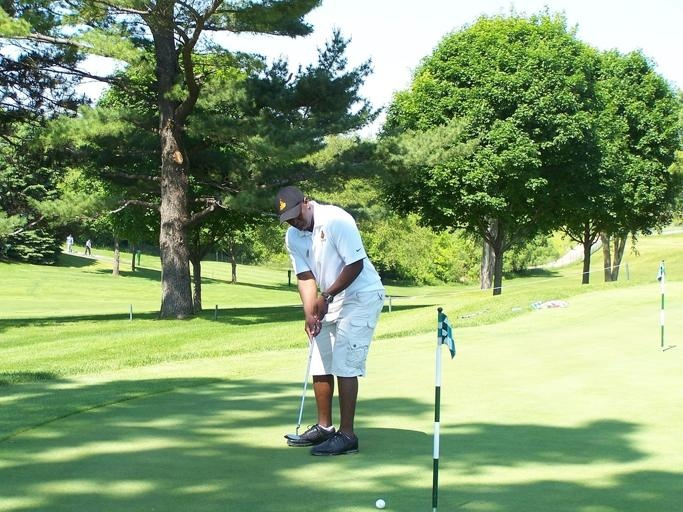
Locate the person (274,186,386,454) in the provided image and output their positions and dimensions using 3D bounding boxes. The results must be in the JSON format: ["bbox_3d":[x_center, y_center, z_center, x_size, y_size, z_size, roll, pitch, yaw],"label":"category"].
[{"bbox_3d":[-0.116,0.733,9.828,1.225,3.097,0.735,1,1,3],"label":"person"}]

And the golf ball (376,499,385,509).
[{"bbox_3d":[0.399,2.531,8.400,0.105,0.070,0.130,1,0,7],"label":"golf ball"}]

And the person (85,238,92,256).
[{"bbox_3d":[-21.114,-0.661,68.735,0.364,1.296,1.787,1,0,-10],"label":"person"}]

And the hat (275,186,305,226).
[{"bbox_3d":[-0.641,-0.621,9.774,0.300,0.279,0.437,-13,35,38],"label":"hat"}]

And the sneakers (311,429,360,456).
[{"bbox_3d":[-0.067,2.188,9.589,0.504,0.233,0.236,1,-6,-11],"label":"sneakers"}]
